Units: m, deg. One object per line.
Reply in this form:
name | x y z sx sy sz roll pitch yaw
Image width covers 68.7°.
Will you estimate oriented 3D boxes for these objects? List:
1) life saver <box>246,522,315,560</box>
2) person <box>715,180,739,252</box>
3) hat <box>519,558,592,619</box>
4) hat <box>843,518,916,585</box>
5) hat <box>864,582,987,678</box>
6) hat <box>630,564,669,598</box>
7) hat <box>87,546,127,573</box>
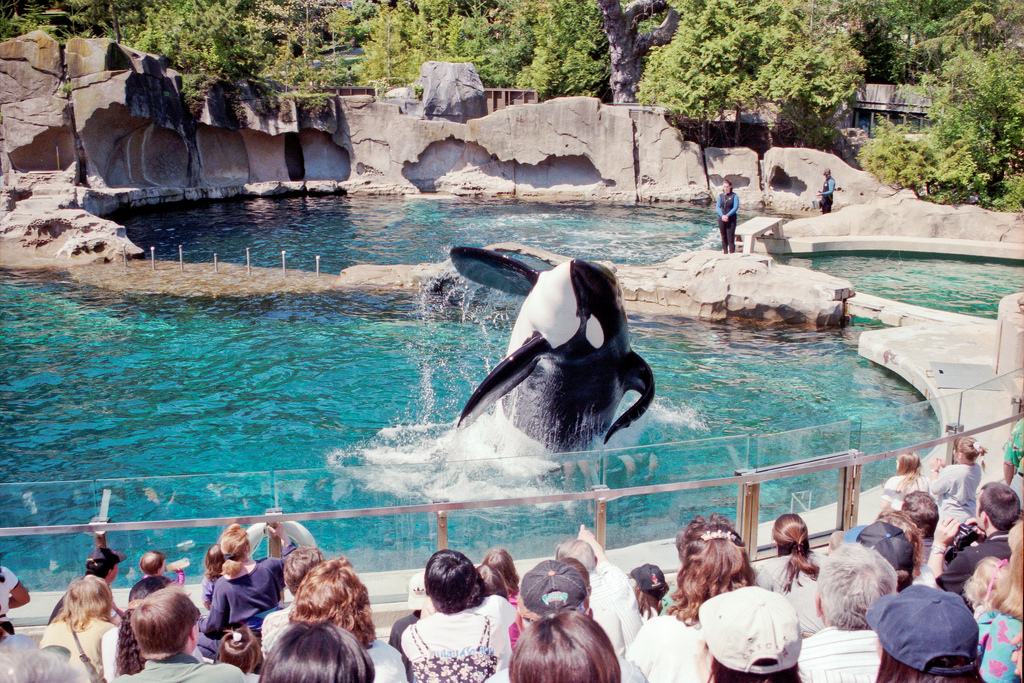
life saver | -1.629 1.378 5.289 0.387 0.358 0.100 4 8 -6
person | 4.873 -2.753 16.951 0.367 1.513 1.359 1 10 16
hat | 0.219 1.268 3.869 0.278 0.231 0.274 -11 13 -44
hat | 2.240 1.258 4.473 0.314 0.302 0.408 3 10 28
hat | 1.859 1.284 3.406 0.344 0.178 0.460 -3 22 -1
hat | 0.826 1.453 4.550 0.214 0.171 0.211 -4 9 -12
hat | -2.802 1.474 5.117 0.175 0.111 0.266 -5 9 -17
